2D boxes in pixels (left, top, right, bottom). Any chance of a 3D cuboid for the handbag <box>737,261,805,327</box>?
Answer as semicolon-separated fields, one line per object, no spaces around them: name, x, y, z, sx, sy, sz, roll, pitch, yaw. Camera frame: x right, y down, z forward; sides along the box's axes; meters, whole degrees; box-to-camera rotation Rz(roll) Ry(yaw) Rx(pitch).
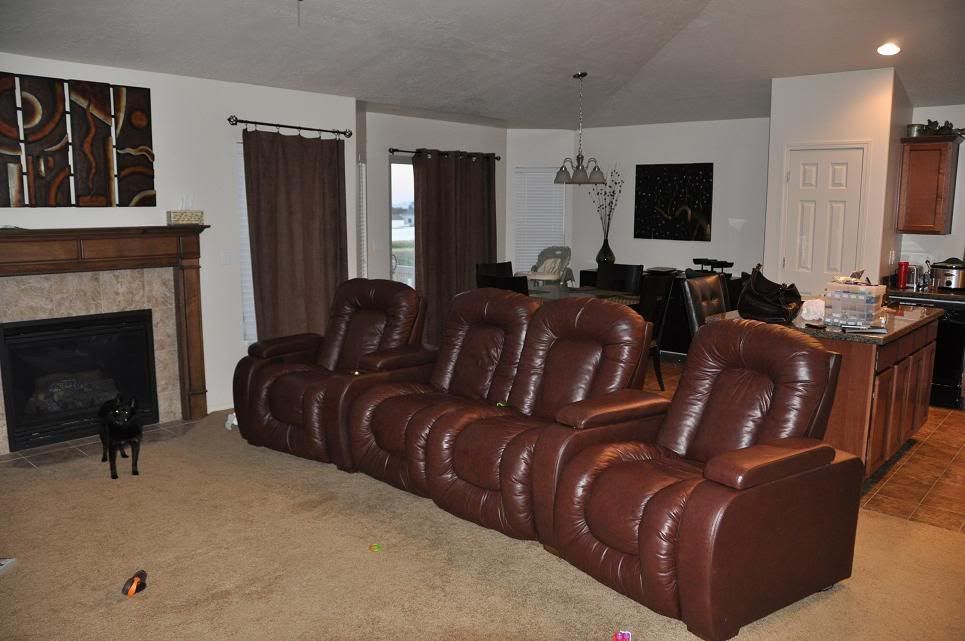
handbag;2.193;-0.196;4.929;0.563;0.522;0.386;11;4;8

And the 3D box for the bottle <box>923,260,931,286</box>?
bottle;5.006;-0.510;7.310;0.095;0.233;0.323;9;11;33

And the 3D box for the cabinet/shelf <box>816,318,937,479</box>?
cabinet/shelf;2.807;0.545;4.658;0.589;0.772;1.161;6;12;38

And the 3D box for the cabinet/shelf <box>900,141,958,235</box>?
cabinet/shelf;4.857;-1.463;7.084;0.514;1.021;0.273;1;10;-3

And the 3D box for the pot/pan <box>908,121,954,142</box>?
pot/pan;4.900;-2.060;7.059;0.419;0.144;0.325;1;2;20
